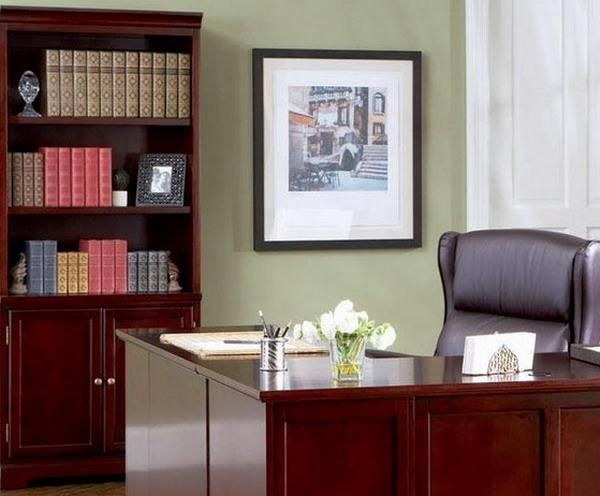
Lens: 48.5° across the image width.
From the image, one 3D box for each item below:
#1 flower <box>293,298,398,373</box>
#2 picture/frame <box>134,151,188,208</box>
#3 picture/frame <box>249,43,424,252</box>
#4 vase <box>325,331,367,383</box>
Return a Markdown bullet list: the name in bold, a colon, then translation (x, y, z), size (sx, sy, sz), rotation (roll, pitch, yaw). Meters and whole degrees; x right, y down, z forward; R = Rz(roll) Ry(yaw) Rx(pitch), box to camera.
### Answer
- **flower**: translation (0.119, 0.242, 1.854), size (0.221, 0.176, 0.234), rotation (-1, 1, 3)
- **picture/frame**: translation (-0.801, -0.390, 3.869), size (0.310, 0.376, 0.031), rotation (2, -9, -3)
- **picture/frame**: translation (0.187, -0.674, 4.240), size (1.213, 1.527, 0.076), rotation (0, 1, -10)
- **vase**: translation (0.125, 0.293, 1.823), size (0.103, 0.133, 0.107), rotation (0, 0, -1)
